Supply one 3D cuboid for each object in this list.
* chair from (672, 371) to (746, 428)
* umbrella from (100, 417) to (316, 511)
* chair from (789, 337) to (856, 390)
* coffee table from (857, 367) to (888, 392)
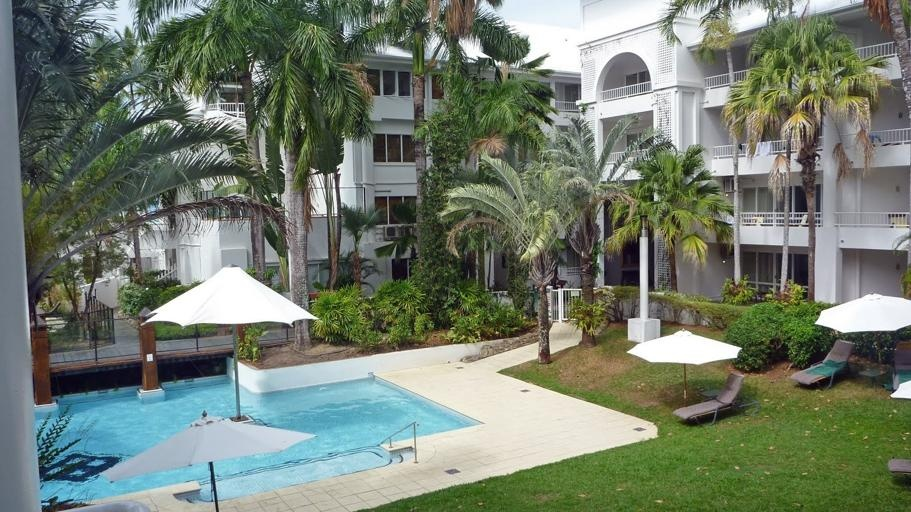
[{"bbox_3d":[9.029,5.039,26.264,2.674,1.771,1.380,-5,3,-6],"label":"chair"},{"bbox_3d":[-6.548,5.154,20.355,3.496,2.316,3.592,-6,-1,22],"label":"umbrella"},{"bbox_3d":[13.532,3.875,26.424,2.602,1.391,1.251,-15,11,-24],"label":"chair"},{"bbox_3d":[15.029,4.372,26.124,0.650,0.164,0.655,-15,23,-23],"label":"coffee table"}]
